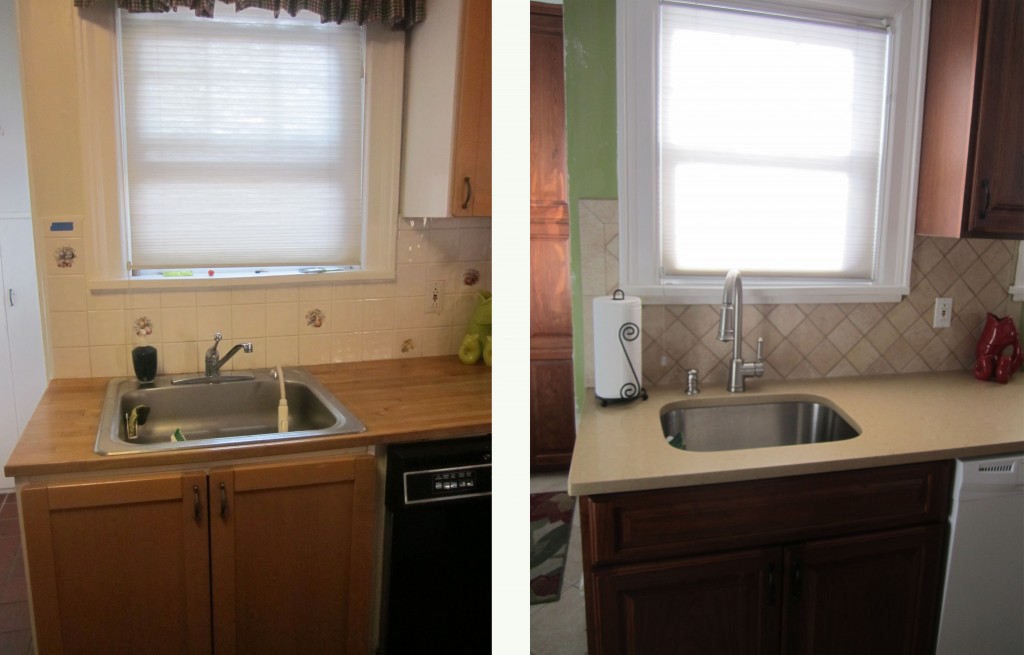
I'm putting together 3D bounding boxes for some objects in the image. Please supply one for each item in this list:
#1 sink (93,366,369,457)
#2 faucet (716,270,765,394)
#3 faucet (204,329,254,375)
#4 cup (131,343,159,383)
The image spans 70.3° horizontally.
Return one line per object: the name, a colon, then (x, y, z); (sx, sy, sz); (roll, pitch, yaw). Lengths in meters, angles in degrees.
sink: (-0.855, 0.235, 2.032); (0.431, 0.155, 0.318); (-4, 22, -18)
faucet: (0.451, 0.014, 1.432); (0.116, 0.261, 0.065); (-10, 13, -37)
faucet: (-0.833, 0.092, 2.122); (0.206, 0.134, 0.053); (2, 2, 31)
cup: (-1.077, 0.106, 2.112); (0.063, 0.111, 0.073); (-8, 11, -29)
